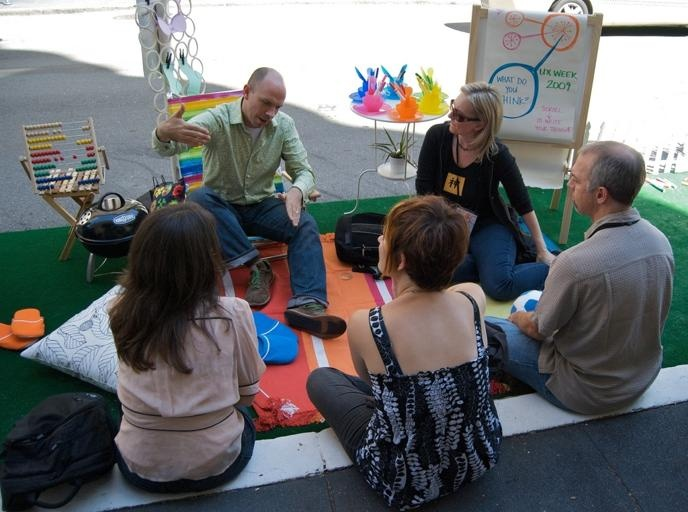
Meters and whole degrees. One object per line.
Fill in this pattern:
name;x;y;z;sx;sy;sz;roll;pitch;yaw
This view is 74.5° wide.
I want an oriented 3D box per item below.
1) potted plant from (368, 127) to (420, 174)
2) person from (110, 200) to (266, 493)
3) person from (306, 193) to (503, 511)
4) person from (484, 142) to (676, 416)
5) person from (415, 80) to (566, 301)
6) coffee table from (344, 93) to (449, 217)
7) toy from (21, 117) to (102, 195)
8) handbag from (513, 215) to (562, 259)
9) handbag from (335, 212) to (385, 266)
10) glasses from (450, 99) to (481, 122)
potted plant;0.479;-0.922;4.050;0.363;0.425;0.359;2;22;3
person;-0.682;0.469;1.935;0.657;1.339;0.362;-18;31;-30
person;0.363;0.460;1.965;0.639;1.385;0.494;-12;29;-21
person;1.305;0.083;2.628;1.093;1.441;0.923;-15;24;-15
person;1.000;-0.536;3.418;0.985;1.576;0.983;14;32;36
coffee table;0.431;-0.839;4.210;0.831;0.860;0.723;7;8;-15
toy;-2.363;-0.825;3.863;0.620;0.606;0.334;-11;13;-12
handbag;1.625;-0.121;3.751;0.142;0.425;0.355;-38;11;21
handbag;0.119;-0.143;3.750;0.456;0.170;0.373;1;67;-8
glasses;0.840;-1.012;3.180;0.178;0.056;0.170;2;40;-28
